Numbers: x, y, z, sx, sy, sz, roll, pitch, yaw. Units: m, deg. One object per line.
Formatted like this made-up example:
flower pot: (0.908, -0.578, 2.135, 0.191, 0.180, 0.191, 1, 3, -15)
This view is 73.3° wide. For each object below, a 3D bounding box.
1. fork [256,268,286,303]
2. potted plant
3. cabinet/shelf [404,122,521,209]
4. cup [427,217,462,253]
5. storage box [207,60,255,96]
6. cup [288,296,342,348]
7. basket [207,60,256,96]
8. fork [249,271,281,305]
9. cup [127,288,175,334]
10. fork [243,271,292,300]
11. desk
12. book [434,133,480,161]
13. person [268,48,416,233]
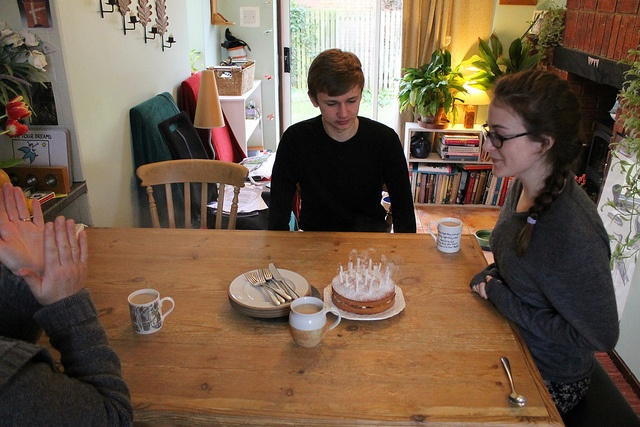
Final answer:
fork: (-0.199, 0.254, 1.624, 0.046, 0.037, 0.263, -18, 33, -19)
potted plant: (1.121, -1.317, 4.553, 0.773, 0.680, 0.701, 19, 41, 23)
cabinet/shelf: (1.197, -0.414, 3.742, 0.985, 0.654, 0.321, 1, 26, 1)
cup: (0.551, 0.091, 1.946, 0.184, 0.162, 0.116, 1, 21, 18)
storage box: (-0.861, -1.373, 4.244, 0.339, 0.204, 0.500, 1, 26, 6)
cup: (-0.024, 0.346, 1.418, 0.187, 0.131, 0.126, 0, 23, -5)
basket: (-0.850, -1.336, 4.321, 0.339, 0.199, 0.499, 2, 27, 7)
fork: (-0.212, 0.264, 1.607, 0.058, 0.032, 0.220, -22, 45, -23)
cup: (-0.584, 0.336, 1.527, 0.185, 0.139, 0.118, -4, 20, -25)
fork: (-0.210, 0.261, 1.607, 0.071, 0.037, 0.267, -22, 36, -26)
desk: (-1.477, -0.054, 2.409, 0.182, 0.206, 0.309, 3, 25, -2)
book: (1.455, -0.684, 4.475, 0.310, 0.190, 0.303, 2, 18, 7)
person: (0.099, -0.346, 2.248, 0.785, 0.959, 0.280, 0, 20, 6)
